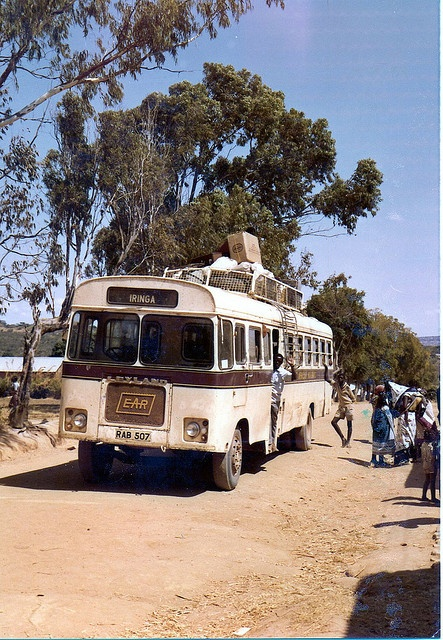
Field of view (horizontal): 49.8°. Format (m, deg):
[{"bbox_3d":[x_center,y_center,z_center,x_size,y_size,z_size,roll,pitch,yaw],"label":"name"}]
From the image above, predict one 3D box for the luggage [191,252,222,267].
[{"bbox_3d":[-0.401,-1.525,12.005,0.567,0.188,0.614,-25,4,-33],"label":"luggage"}]
